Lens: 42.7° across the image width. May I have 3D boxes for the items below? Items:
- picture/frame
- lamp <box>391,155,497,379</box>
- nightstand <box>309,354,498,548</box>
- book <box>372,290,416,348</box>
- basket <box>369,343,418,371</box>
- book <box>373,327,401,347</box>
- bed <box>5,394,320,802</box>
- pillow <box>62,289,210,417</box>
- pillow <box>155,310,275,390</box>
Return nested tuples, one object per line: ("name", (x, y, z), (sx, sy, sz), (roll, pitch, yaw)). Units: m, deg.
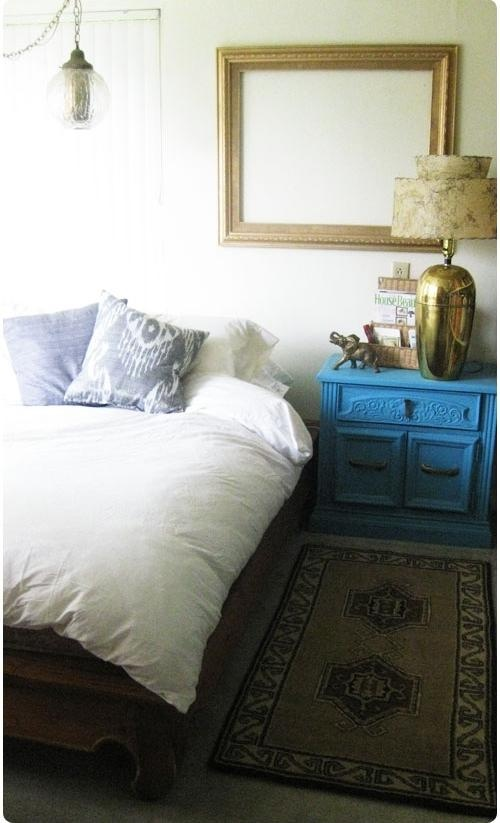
("picture/frame", (0.377, -1.060, 2.515), (0.808, 0.740, 0.068), (3, 21, 10))
("lamp", (0.679, -0.501, 2.284), (0.330, 0.782, 0.221), (0, 10, 3))
("nightstand", (0.557, 0.097, 2.650), (0.822, 0.862, 0.574), (2, 10, 12))
("book", (0.575, -0.363, 2.515), (0.192, 0.278, 0.026), (5, 10, 28))
("basket", (0.588, -0.223, 2.509), (0.136, 0.051, 0.103), (7, 15, 13))
("book", (0.547, -0.296, 2.526), (0.076, 0.100, 0.010), (2, 13, 26))
("bed", (-0.186, 0.411, 1.379), (0.422, 0.223, 0.882), (5, 17, 13))
("pillow", (-0.382, -0.164, 2.172), (0.378, 0.410, 0.121), (22, -3, 21))
("pillow", (-0.088, -0.246, 2.424), (0.311, 0.336, 0.099), (9, -3, -3))
